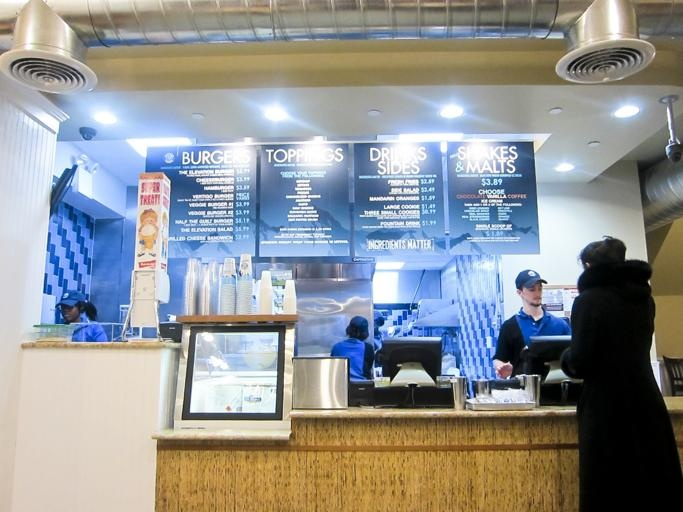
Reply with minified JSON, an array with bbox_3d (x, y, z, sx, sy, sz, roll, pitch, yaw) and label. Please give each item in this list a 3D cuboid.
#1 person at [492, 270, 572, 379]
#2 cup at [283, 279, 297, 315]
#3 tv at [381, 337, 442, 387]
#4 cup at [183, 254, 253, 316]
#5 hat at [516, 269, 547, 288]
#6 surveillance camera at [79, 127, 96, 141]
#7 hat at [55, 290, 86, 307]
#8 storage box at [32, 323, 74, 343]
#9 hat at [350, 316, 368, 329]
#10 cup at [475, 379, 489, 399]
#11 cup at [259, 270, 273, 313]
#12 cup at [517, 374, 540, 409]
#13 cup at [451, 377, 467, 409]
[{"bbox_3d":[1.613,0.646,5.013,0.754,1.098,0.676,1,-15,4],"label":"person"},{"bbox_3d":[-0.351,0.275,4.030,0.077,0.239,0.104,-1,-13,-3],"label":"cup"},{"bbox_3d":[0.447,0.697,3.930,0.394,0.280,0.230,0,-6,-5],"label":"tv"},{"bbox_3d":[-0.836,0.251,4.187,0.470,0.460,0.386,1,-10,-6],"label":"cup"},{"bbox_3d":[1.606,0.205,5.132,0.177,0.127,0.241,-4,-15,-38],"label":"hat"},{"bbox_3d":[-2.147,-1.037,5.068,0.099,0.044,0.102,-5,-18,-6],"label":"surveillance camera"},{"bbox_3d":[-2.513,0.401,5.637,0.164,0.135,0.235,-3,-13,8],"label":"hat"},{"bbox_3d":[-1.991,0.537,4.145,0.184,0.084,0.149,1,-9,-2],"label":"storage box"},{"bbox_3d":[0.147,0.614,5.400,0.165,0.156,0.210,0,-13,-7],"label":"hat"},{"bbox_3d":[0.893,0.841,3.761,0.105,0.120,0.104,0,-11,0],"label":"cup"},{"bbox_3d":[-0.508,0.247,4.020,0.100,0.321,0.193,0,-13,-8],"label":"cup"},{"bbox_3d":[1.223,0.868,3.813,0.169,0.206,0.092,6,-14,-30],"label":"cup"},{"bbox_3d":[0.736,0.864,3.738,0.082,0.200,0.080,-1,-13,0],"label":"cup"}]
